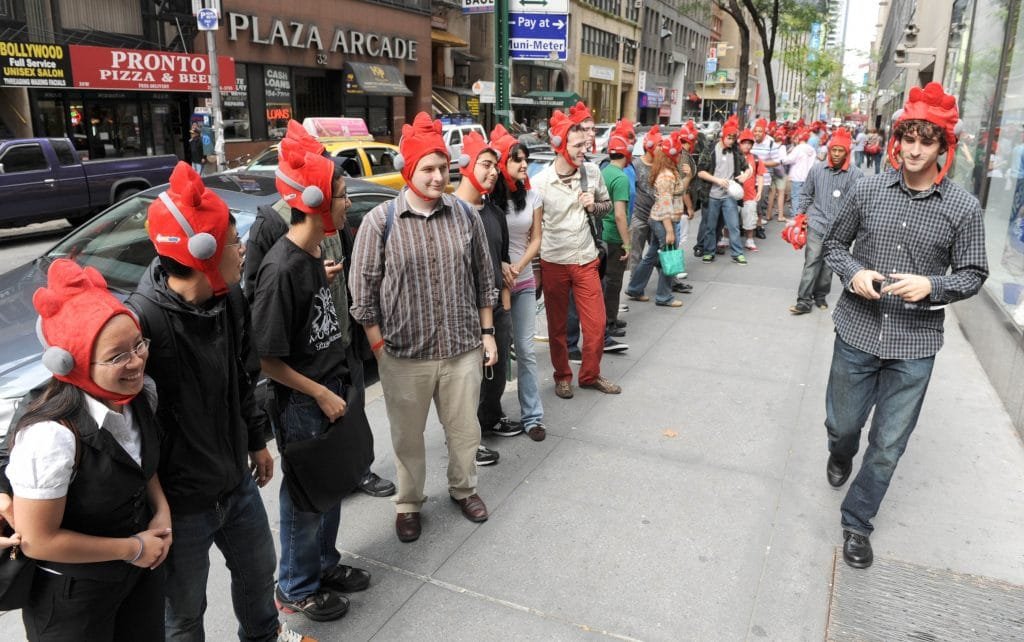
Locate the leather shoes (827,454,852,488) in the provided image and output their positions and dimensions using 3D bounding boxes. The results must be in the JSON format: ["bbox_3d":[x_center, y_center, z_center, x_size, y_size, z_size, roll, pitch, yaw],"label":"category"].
[{"bbox_3d":[2.607,1.194,5.242,0.108,0.263,0.192,22,14,40],"label":"leather shoes"}]

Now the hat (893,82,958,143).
[{"bbox_3d":[2.786,-1.414,4.419,0.539,0.384,0.314,-16,25,-41],"label":"hat"}]

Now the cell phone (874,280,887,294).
[{"bbox_3d":[2.491,-0.234,4.480,0.073,0.078,0.150,10,21,27],"label":"cell phone"}]

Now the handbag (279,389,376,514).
[{"bbox_3d":[-1.098,0.747,3.905,0.529,0.647,0.359,-6,20,-18],"label":"handbag"}]

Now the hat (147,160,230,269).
[{"bbox_3d":[-1.526,-0.485,3.070,0.363,0.499,0.309,-3,20,-11],"label":"hat"}]

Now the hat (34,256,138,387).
[{"bbox_3d":[-1.789,0.030,2.757,0.325,0.580,0.287,-16,25,-38],"label":"hat"}]

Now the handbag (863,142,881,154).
[{"bbox_3d":[16.131,-7.730,29.438,1.066,0.447,1.322,4,16,32],"label":"handbag"}]

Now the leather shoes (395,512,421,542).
[{"bbox_3d":[-0.746,1.479,4.712,0.107,0.102,0.268,-1,28,-6],"label":"leather shoes"}]

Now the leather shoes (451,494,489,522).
[{"bbox_3d":[-0.318,1.387,4.995,0.133,0.130,0.320,-13,20,-42],"label":"leather shoes"}]

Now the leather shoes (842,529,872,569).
[{"bbox_3d":[2.397,1.586,4.580,0.134,0.112,0.305,1,9,16],"label":"leather shoes"}]

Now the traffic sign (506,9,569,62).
[{"bbox_3d":[0.302,-3.708,8.462,1.020,0.661,0.017,3,13,13],"label":"traffic sign"}]

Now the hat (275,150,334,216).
[{"bbox_3d":[-1.148,-0.776,3.686,0.363,0.333,0.314,-5,10,-11],"label":"hat"}]
